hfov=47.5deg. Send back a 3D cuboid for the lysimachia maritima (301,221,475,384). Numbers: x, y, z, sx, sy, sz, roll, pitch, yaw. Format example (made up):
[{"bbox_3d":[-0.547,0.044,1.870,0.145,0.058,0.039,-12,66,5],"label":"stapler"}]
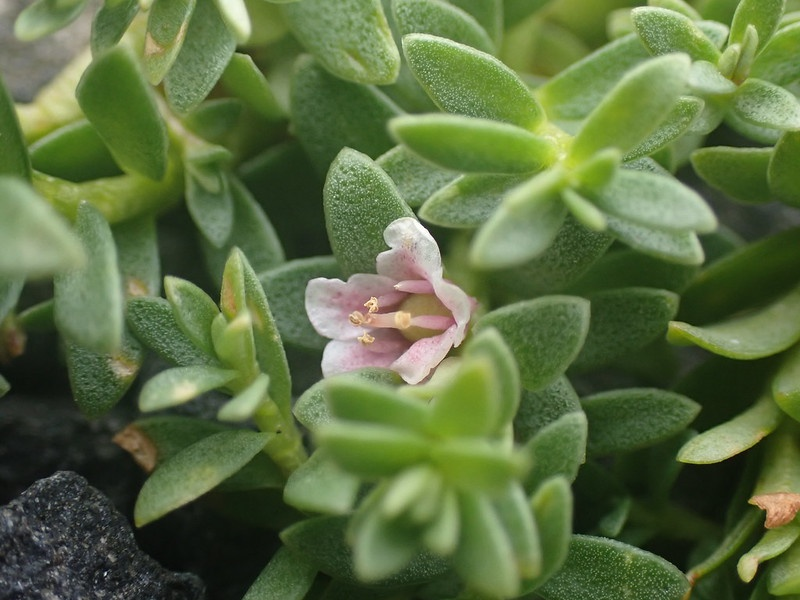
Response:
[{"bbox_3d":[-0.020,0.008,0.967,0.086,0.180,0.179,-12,93,-56],"label":"lysimachia maritima"}]
